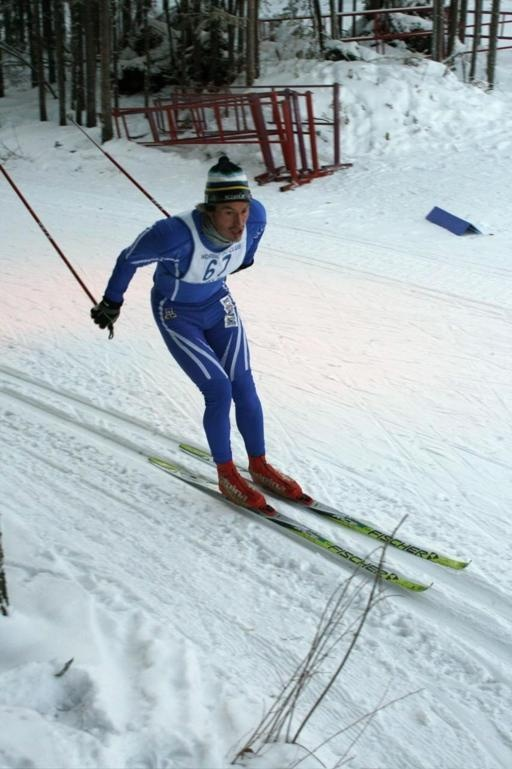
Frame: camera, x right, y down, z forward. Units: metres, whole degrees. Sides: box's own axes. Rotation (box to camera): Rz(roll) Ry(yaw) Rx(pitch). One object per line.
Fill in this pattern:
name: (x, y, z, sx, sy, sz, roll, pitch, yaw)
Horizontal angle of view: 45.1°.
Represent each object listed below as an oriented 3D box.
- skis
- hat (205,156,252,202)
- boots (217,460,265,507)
skis: (0.212, 0.624, 2.814, 0.993, 0.053, 0.241, 23, 30, 21)
hat: (-0.128, -0.856, 2.620, 0.171, 0.166, 0.182, 1, 20, 13)
boots: (-0.082, 0.475, 2.989, 0.103, 0.190, 0.296, -17, 18, -35)
